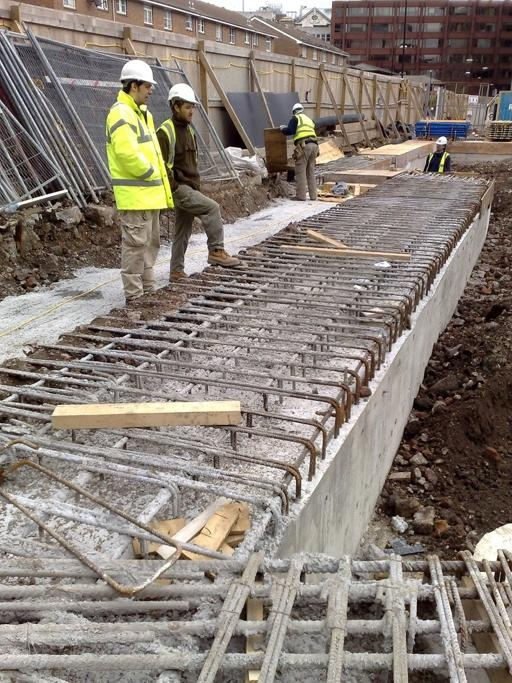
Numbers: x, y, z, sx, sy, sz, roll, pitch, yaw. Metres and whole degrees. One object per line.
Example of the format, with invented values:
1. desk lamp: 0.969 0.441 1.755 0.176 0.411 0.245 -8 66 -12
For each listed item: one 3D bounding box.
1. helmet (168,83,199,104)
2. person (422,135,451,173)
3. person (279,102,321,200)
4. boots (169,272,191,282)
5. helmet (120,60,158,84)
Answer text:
1. helmet: -0.656 -2.088 4.604 0.289 0.141 0.201 8 35 9
2. person: 3.924 -4.072 11.890 0.494 0.745 1.272 3 30 16
3. person: 0.762 -3.273 9.641 0.575 1.563 0.758 -5 31 3
4. boots: -0.750 -0.609 5.098 0.249 0.094 0.078 -8 28 -1
5. helmet: -0.862 -1.951 4.062 0.308 0.153 0.211 -2 40 -10
